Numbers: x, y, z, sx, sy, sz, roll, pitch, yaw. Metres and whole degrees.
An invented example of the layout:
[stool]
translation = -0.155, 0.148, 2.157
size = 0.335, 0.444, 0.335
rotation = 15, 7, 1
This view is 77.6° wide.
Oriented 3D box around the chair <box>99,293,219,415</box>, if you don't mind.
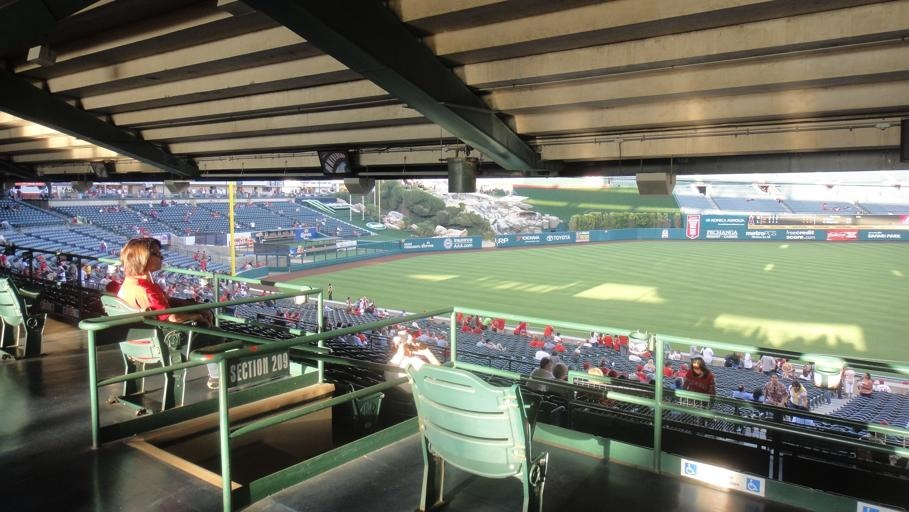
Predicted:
[chair]
translation = -4.291, 1.380, 8.082
size = 1.069, 1.643, 1.210
rotation = 1, -1, -38
